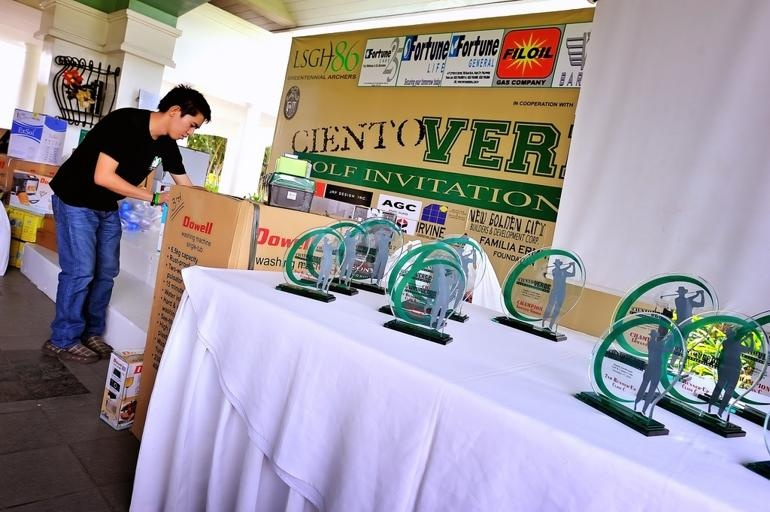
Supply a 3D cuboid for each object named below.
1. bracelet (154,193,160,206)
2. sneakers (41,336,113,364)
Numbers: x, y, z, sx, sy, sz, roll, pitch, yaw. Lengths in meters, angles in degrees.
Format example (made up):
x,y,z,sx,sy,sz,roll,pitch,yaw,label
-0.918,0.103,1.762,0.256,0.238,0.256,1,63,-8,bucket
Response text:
x,y,z,sx,sy,sz,roll,pitch,yaw,label
-1.275,-0.311,2.511,0.025,0.066,0.048,4,1,-10,bracelet
-1.926,0.594,2.904,0.458,0.174,0.265,1,6,-16,sneakers
